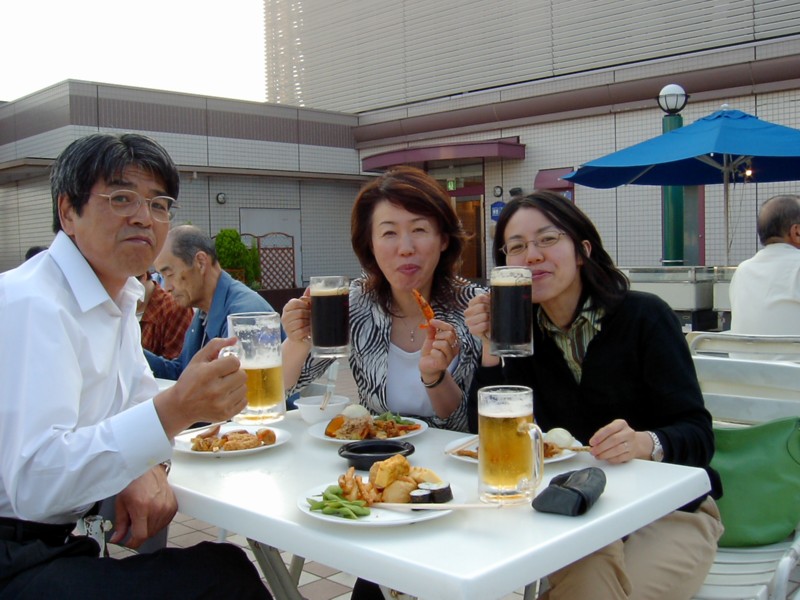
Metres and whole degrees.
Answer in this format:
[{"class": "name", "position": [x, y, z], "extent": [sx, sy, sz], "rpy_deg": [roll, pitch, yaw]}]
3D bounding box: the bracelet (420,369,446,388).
[{"class": "bracelet", "position": [0.148, 0.333, 2.533], "extent": [0.104, 0.075, 0.052], "rpy_deg": [-3, 8, -5]}]

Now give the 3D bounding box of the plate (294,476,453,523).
[{"class": "plate", "position": [-0.076, 0.537, 1.559], "extent": [0.393, 0.060, 0.184], "rpy_deg": [0, 8, 22]}]

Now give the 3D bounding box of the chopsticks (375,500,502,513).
[{"class": "chopsticks", "position": [0.093, 0.527, 1.555], "extent": [0.280, 0.022, 0.022], "rpy_deg": [-5, 44, 8]}]

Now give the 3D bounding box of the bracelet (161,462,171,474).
[{"class": "bracelet", "position": [-0.754, 0.542, 1.974], "extent": [0.019, 0.037, 0.036], "rpy_deg": [-32, -20, 28]}]

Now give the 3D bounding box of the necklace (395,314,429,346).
[{"class": "necklace", "position": [0.038, 0.137, 2.858], "extent": [0.134, 0.131, 0.033], "rpy_deg": [-5, -26, 5]}]

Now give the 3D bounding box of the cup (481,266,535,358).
[{"class": "cup", "position": [0.378, 0.047, 2.061], "extent": [0.136, 0.312, 0.082], "rpy_deg": [-2, 8, 7]}]

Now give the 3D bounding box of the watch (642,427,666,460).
[{"class": "watch", "position": [0.842, 0.481, 2.004], "extent": [0.053, 0.089, 0.092], "rpy_deg": [-5, 9, 15]}]

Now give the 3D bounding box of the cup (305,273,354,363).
[{"class": "cup", "position": [-0.268, 0.081, 2.371], "extent": [0.157, 0.337, 0.196], "rpy_deg": [-4, 8, -8]}]

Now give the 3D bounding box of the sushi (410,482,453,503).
[{"class": "sushi", "position": [0.085, 0.499, 1.592], "extent": [0.065, 0.024, 0.056], "rpy_deg": [-3, 7, 19]}]

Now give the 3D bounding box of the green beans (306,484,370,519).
[{"class": "green beans", "position": [-0.154, 0.515, 1.552], "extent": [0.088, 0.032, 0.076], "rpy_deg": [-1, 18, 7]}]
